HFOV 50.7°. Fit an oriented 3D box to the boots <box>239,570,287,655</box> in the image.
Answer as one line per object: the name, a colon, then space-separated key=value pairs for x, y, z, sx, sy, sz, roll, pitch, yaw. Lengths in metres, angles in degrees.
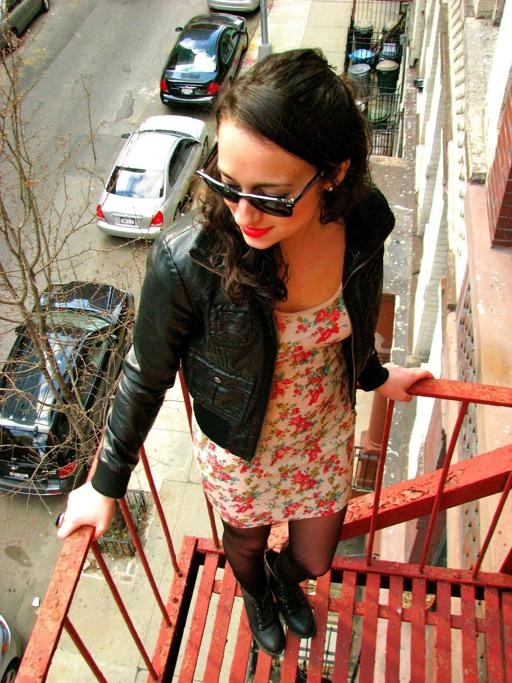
boots: x=0.037 y=1.134 z=2.187 sx=0.138 sy=0.158 sz=0.390 roll=-11 pitch=71 yaw=-2

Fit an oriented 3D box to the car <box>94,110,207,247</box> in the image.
car: x=-2.205 y=-3.920 z=11.881 sx=1.787 sy=1.286 sz=3.881 roll=11 pitch=56 yaw=5

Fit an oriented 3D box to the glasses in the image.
glasses: x=-0.033 y=-0.340 z=1.170 sx=0.299 sy=0.102 sz=0.168 roll=19 pitch=41 yaw=32

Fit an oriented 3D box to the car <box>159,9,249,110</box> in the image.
car: x=-1.341 y=-8.142 z=15.073 sx=1.857 sy=1.397 sz=4.167 roll=6 pitch=59 yaw=5
